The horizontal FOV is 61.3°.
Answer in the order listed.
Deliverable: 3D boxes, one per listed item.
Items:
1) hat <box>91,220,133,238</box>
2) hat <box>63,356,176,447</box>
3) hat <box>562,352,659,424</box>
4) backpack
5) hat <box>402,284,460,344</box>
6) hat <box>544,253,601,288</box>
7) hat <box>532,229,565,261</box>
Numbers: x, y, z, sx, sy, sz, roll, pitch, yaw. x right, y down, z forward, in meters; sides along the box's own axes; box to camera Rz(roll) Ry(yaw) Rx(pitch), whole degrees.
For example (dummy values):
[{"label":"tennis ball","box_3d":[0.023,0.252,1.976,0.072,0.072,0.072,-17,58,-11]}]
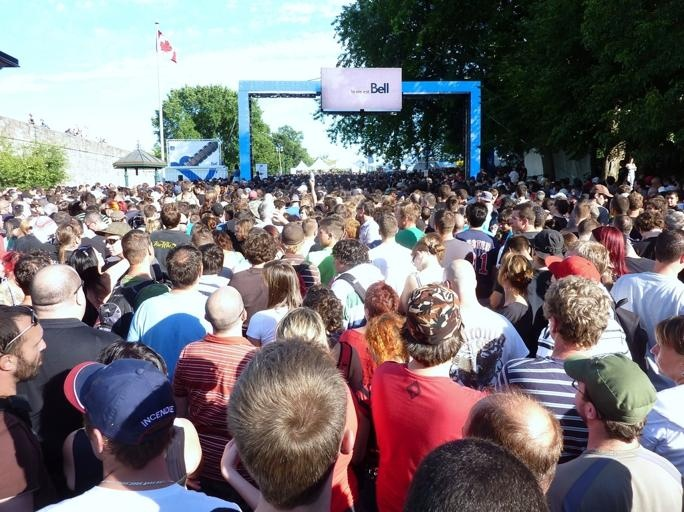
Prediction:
[{"label":"hat","box_3d":[-2.345,-0.264,5.932,0.408,0.216,0.291,2,-3,-37]},{"label":"hat","box_3d":[-1.064,0.633,2.753,0.458,0.280,0.331,35,30,23]},{"label":"hat","box_3d":[1.410,0.683,3.065,0.260,0.219,0.429,-4,42,-13]},{"label":"backpack","box_3d":[-1.845,0.419,4.939,0.199,0.370,0.359,29,-2,-32]},{"label":"hat","box_3d":[0.553,0.307,3.423,0.327,0.282,0.519,0,29,22]},{"label":"hat","box_3d":[1.884,0.100,4.686,0.302,0.171,0.423,-2,10,-10]},{"label":"hat","box_3d":[2.052,-0.120,5.718,0.211,0.176,0.320,-2,31,5]}]
